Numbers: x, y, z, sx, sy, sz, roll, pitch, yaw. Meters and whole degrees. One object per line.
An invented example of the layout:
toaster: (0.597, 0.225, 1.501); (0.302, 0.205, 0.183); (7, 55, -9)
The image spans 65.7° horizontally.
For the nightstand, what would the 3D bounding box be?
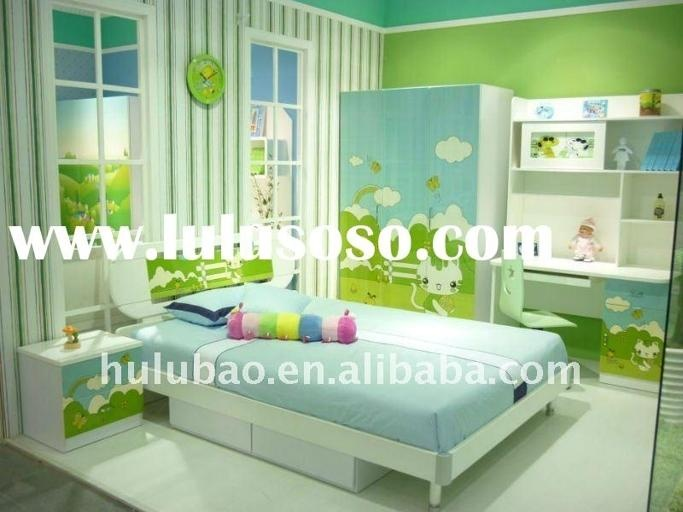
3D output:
nightstand: (-1.731, 0.806, 3.648); (0.620, 0.709, 0.715); (3, 7, 25)

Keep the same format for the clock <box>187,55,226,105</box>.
clock: (-1.098, -1.433, 4.272); (0.073, 0.364, 0.340); (9, 15, 34)

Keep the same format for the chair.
chair: (1.648, 0.281, 4.667); (0.611, 0.803, 0.603); (-4, 7, -21)

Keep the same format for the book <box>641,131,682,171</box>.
book: (2.608, -0.849, 4.298); (0.248, 0.305, 0.226); (10, 16, 36)

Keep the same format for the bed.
bed: (-0.161, 0.397, 3.278); (1.944, 0.548, 1.448); (9, 15, 39)
